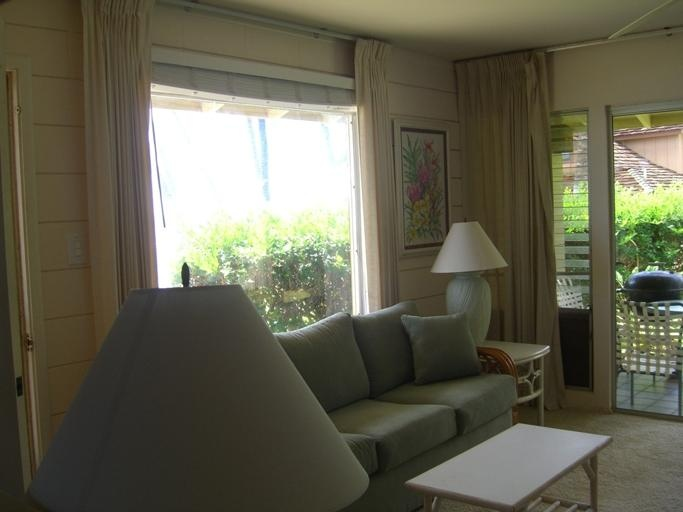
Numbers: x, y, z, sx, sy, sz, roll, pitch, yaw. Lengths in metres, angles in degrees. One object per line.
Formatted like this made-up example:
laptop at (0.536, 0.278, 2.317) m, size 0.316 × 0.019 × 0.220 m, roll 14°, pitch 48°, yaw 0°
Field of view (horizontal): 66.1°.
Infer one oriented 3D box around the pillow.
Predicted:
pillow at (0.693, 0.576, 3.884) m, size 0.710 × 0.657 × 0.375 m, roll -2°, pitch -8°, yaw -20°
